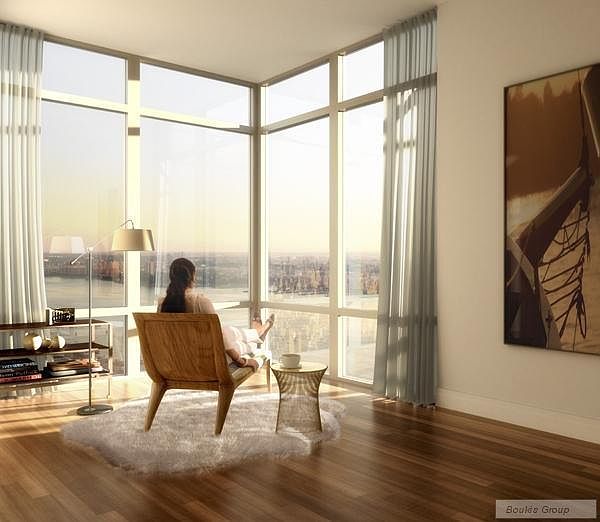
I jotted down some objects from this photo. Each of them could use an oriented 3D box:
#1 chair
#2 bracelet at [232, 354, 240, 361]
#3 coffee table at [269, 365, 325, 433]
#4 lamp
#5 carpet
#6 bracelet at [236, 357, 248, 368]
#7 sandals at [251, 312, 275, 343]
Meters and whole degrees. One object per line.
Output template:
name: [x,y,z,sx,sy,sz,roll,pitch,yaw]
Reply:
chair: [-0.793,0.811,3.849,0.670,0.955,1.269,-1,0,13]
bracelet: [-0.548,0.773,3.658,0.041,0.035,0.043,2,1,32]
coffee table: [-0.026,1.023,3.501,0.426,0.529,0.423,1,-5,0]
lamp: [-1.714,0.227,4.062,0.572,0.347,1.423,-4,38,-18]
carpet: [-0.834,1.274,3.491,1.998,0.051,1.506,-1,-1,27]
bracelet: [-0.504,0.817,3.681,0.067,0.072,0.018,8,-6,-39]
sandals: [-0.387,0.691,4.725,0.080,0.306,0.281,13,-9,-23]
